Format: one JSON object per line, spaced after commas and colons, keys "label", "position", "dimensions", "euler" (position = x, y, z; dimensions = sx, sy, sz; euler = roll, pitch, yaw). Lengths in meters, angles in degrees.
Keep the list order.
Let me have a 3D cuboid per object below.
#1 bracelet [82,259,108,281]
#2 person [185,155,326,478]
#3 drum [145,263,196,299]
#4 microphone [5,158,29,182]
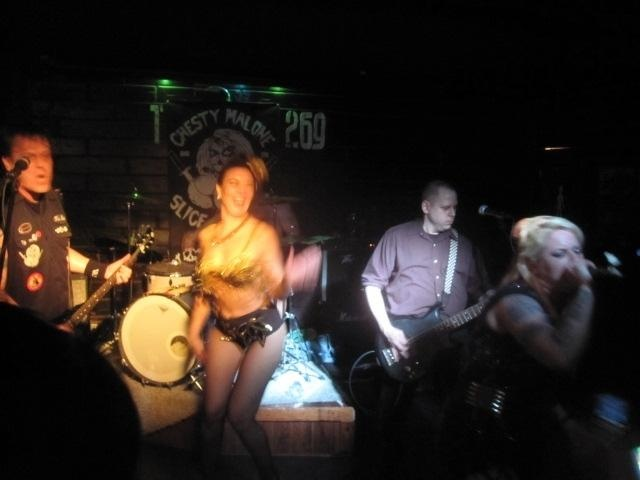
{"label": "bracelet", "position": [-1.978, 0.268, 4.671], "dimensions": [0.196, 0.196, 0.154], "euler": [8, 0, -10]}
{"label": "person", "position": [-0.577, 0.547, 3.647], "dimensions": [0.699, 2.255, 0.400], "euler": [3, 3, 6]}
{"label": "drum", "position": [-1.232, 0.321, 4.392], "dimensions": [0.278, 0.209, 0.279], "euler": [2, 3, 0]}
{"label": "microphone", "position": [-2.227, -0.510, 3.933], "dimensions": [0.077, 0.085, 0.275], "euler": [10, 40, -13]}
